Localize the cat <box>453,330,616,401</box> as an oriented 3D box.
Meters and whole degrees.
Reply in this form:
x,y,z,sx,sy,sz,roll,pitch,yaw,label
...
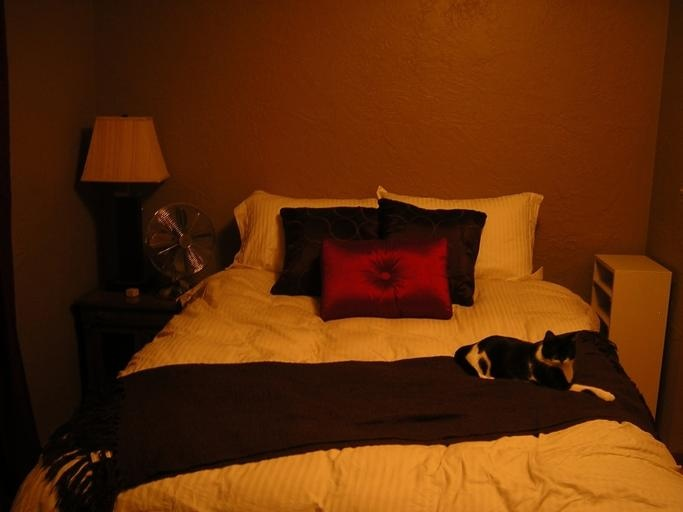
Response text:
x,y,z,sx,sy,sz,roll,pitch,yaw,label
0.685,0.338,2.013,0.495,0.246,0.225,2,11,24,cat
